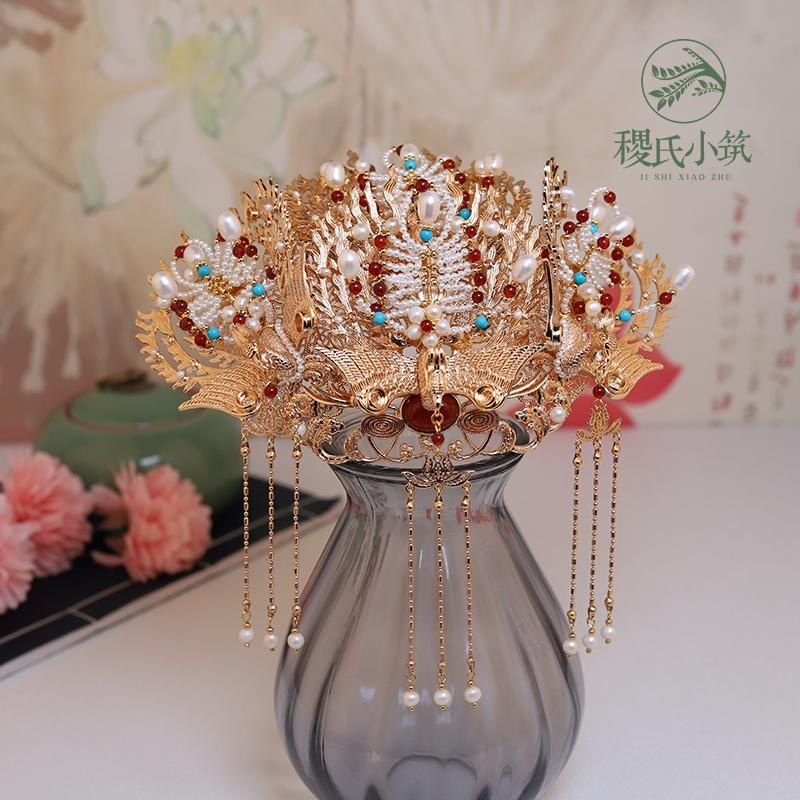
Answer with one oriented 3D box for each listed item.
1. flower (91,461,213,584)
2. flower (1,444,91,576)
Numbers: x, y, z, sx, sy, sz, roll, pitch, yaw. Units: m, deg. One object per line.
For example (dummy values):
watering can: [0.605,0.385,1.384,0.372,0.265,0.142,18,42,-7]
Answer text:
flower: [-0.411,0.200,1.536,0.240,0.178,0.055,-17,-7,-43]
flower: [-0.528,0.167,1.431,0.164,0.165,0.062,-16,12,-39]
